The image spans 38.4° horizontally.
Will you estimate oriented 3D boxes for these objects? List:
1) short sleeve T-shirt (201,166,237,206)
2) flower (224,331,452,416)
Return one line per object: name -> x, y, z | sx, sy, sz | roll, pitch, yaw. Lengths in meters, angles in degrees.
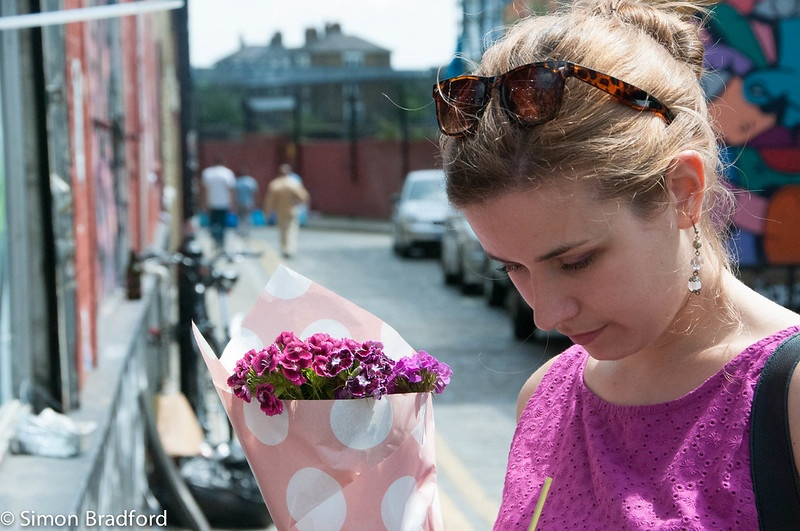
short sleeve T-shirt -> -1.106, -0.467, 6.971 | 0.219, 0.366, 0.171 | -1, 8, -9
flower -> -0.197, 0.320, 3.501 | 0.416, 0.205, 0.333 | 3, -1, 0
